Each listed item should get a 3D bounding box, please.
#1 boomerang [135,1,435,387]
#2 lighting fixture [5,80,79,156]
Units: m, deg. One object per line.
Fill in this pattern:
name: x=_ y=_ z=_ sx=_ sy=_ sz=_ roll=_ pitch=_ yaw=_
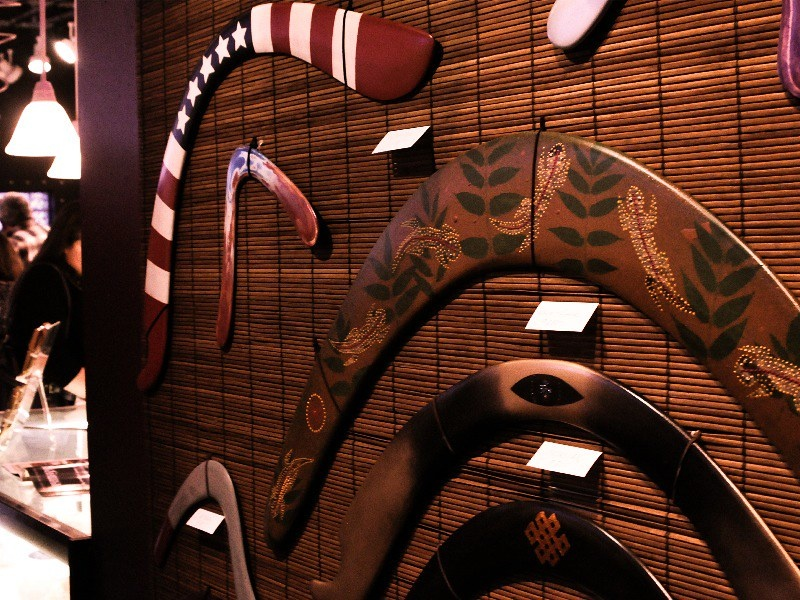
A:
boomerang: x=-0.316 y=-0.312 z=2.006 sx=1.070 sy=0.142 sz=1.440 roll=11 pitch=-78 yaw=51
lighting fixture: x=-1.848 y=-0.895 z=3.542 sx=0.362 sy=0.362 sz=0.414 roll=5 pitch=-80 yaw=41
